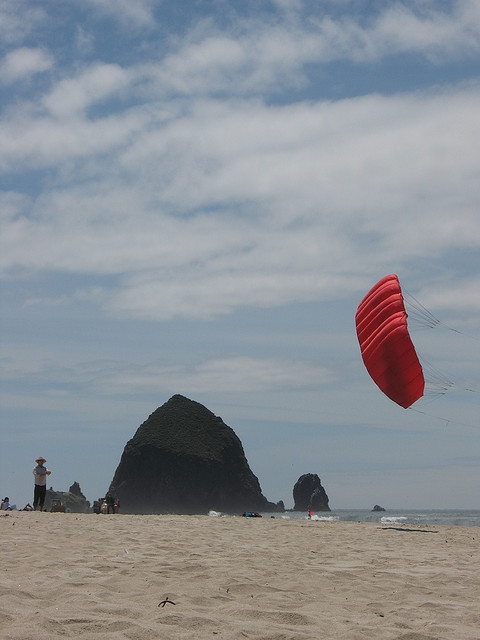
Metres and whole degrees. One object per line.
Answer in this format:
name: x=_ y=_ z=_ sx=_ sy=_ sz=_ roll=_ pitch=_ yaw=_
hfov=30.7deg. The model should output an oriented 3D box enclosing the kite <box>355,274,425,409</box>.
kite: x=2.863 y=0.518 z=16.720 sx=0.681 sy=2.538 sz=1.893 roll=25 pitch=-45 yaw=-25
